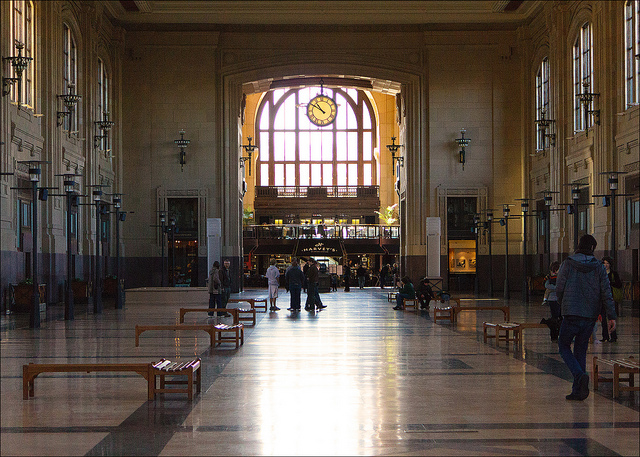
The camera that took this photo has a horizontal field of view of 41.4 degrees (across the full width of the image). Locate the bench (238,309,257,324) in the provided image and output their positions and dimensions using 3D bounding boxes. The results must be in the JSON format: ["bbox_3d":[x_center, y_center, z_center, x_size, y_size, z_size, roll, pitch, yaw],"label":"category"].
[{"bbox_3d":[-2.635,3.062,29.681,0.579,0.284,0.642,0,-1,4],"label":"bench"}]

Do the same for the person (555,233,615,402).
[{"bbox_3d":[5.662,1.888,18.187,1.113,3.438,0.937,1,5,6],"label":"person"}]

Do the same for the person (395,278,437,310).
[{"bbox_3d":[3.904,2.528,33.952,1.957,1.361,0.984,1,0,43],"label":"person"}]

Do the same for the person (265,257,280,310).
[{"bbox_3d":[-1.941,2.211,33.917,0.548,1.911,0.549,-2,-6,25],"label":"person"}]

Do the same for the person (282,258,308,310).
[{"bbox_3d":[-1.058,2.168,33.324,0.907,2.024,0.621,1,-4,-15],"label":"person"}]
